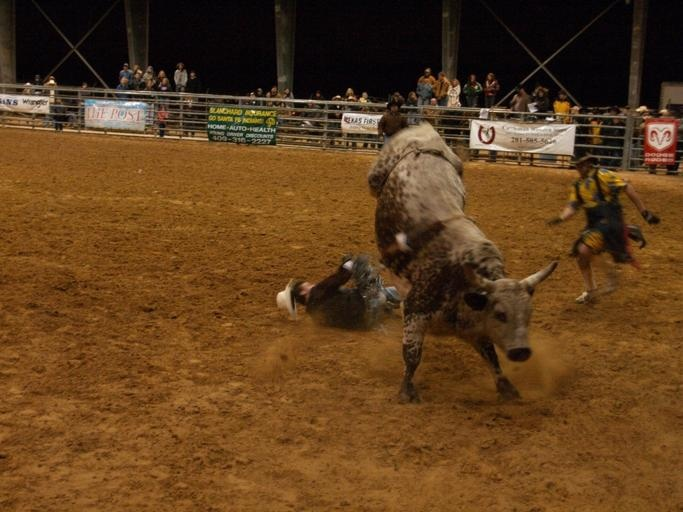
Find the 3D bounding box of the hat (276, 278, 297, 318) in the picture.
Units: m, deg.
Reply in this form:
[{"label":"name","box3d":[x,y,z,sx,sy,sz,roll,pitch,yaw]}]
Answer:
[{"label":"hat","box3d":[-0.630,0.498,6.870,0.217,0.436,0.291,2,13,-6]}]

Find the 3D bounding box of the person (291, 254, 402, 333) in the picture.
[{"label":"person","box3d":[0.218,0.389,7.071,1.881,0.582,0.555,-4,12,10]}]

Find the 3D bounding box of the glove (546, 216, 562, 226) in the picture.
[{"label":"glove","box3d":[2.537,-0.437,7.097,0.117,0.110,0.451,34,7,8]}]

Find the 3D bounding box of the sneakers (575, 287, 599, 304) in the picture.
[{"label":"sneakers","box3d":[3.066,0.485,7.442,0.280,0.093,0.164,-25,7,0]}]
